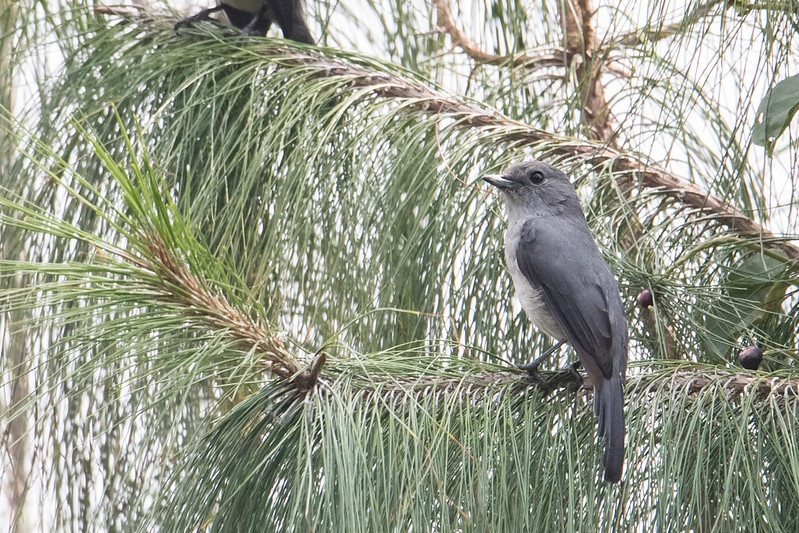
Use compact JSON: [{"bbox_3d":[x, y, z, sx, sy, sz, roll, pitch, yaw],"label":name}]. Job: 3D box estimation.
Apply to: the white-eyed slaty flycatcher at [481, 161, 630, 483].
[{"bbox_3d":[0.518,0.192,4.014,0.411,1.118,0.354,-22,-45,37],"label":"white-eyed slaty flycatcher"}]
